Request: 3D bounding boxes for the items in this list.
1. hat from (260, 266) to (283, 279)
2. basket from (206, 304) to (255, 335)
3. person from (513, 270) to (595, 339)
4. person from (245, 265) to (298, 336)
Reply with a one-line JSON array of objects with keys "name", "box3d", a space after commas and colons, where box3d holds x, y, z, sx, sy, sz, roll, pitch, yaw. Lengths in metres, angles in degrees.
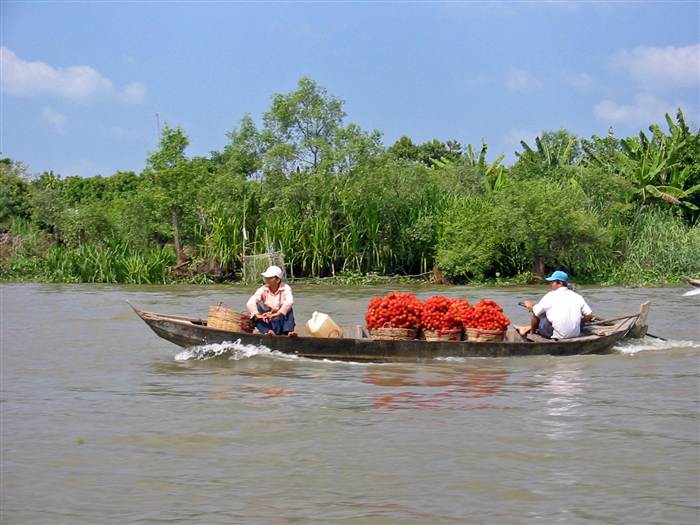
[{"name": "hat", "box3d": [-1.357, 0.167, 14.705, 0.358, 0.167, 0.218, 2, -1, -11]}, {"name": "basket", "box3d": [-2.076, 0.946, 14.692, 0.591, 0.242, 0.452, 16, -10, -6]}, {"name": "person", "box3d": [3.536, 0.742, 15.418, 1.377, 1.072, 1.057, 8, 18, 38]}, {"name": "person", "box3d": [-1.353, 0.663, 14.772, 0.841, 1.038, 1.010, 0, 9, 2]}]
